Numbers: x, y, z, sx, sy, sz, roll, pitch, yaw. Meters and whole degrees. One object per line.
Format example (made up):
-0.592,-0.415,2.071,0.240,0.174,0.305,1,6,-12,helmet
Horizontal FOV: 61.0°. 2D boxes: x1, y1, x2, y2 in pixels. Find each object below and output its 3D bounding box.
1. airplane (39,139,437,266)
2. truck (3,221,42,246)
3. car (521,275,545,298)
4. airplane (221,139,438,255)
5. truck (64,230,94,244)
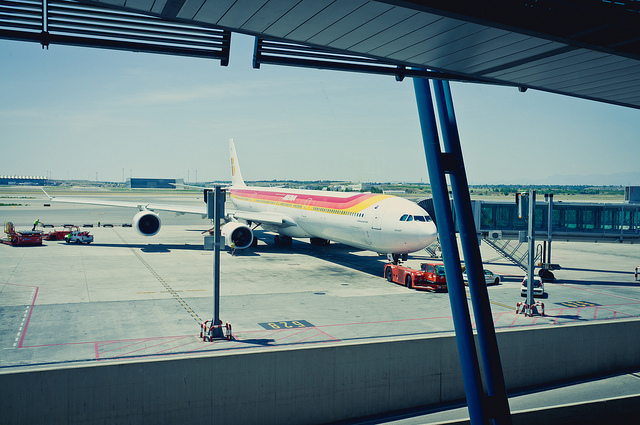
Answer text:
-10.597,0.993,57.625,35.390,14.584,16.512,2,2,38,airplane
-29.114,2.236,52.765,4.213,1.614,2.272,17,17,41,truck
13.714,4.695,34.806,1.376,0.857,2.106,1,8,26,car
-0.244,0.535,46.792,4.216,6.887,26.081,-2,15,-31,airplane
-23.821,2.425,53.994,2.587,0.962,1.381,3,1,15,truck
